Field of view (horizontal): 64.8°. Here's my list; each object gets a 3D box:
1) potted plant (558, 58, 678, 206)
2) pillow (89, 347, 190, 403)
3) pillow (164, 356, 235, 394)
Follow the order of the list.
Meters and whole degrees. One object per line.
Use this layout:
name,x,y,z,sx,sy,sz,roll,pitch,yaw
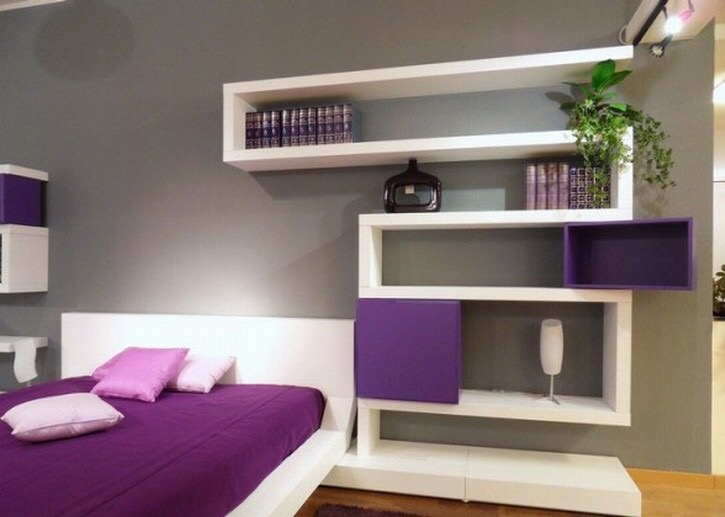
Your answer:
potted plant,1.699,-0.830,4.205,0.851,1.316,0.789,0,1,9
pillow,-1.531,0.785,3.918,0.368,0.129,0.435,-7,24,18
pillow,-1.135,0.816,4.041,0.250,0.081,0.267,0,26,12
